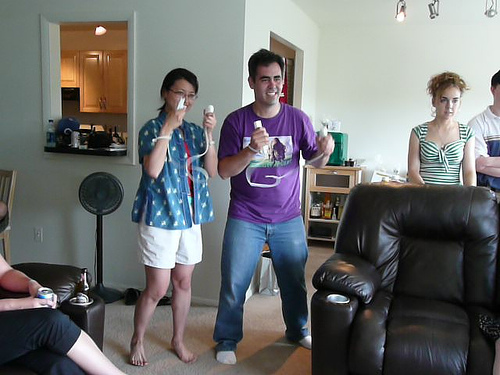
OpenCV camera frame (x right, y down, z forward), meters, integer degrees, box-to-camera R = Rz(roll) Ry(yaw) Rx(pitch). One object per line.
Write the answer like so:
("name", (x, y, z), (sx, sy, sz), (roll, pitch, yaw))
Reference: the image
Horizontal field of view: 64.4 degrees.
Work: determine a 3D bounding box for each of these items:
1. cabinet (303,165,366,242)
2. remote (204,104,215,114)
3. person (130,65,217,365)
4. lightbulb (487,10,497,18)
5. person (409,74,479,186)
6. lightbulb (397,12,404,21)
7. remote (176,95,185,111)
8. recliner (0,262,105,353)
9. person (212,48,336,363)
("cabinet", (1.126, 0.195, 5.453), (0.762, 1.283, 0.504), (6, 23, 20))
("remote", (-0.258, -0.490, 2.501), (0.047, 0.054, 0.102), (2, 10, 1))
("person", (-0.528, 0.165, 2.863), (0.560, 1.930, 0.806), (1, 9, -6))
("lightbulb", (2.384, -1.726, 3.927), (0.146, 0.051, 0.061), (-5, 12, -35))
("person", (1.506, -0.445, 3.068), (0.490, 0.833, 0.267), (4, 9, 16))
("lightbulb", (1.552, -1.764, 4.088), (0.048, 0.081, 0.149), (7, 11, 29))
("remote", (-0.423, -0.521, 2.457), (0.021, 0.085, 0.060), (11, 0, 21))
("recliner", (-1.113, 0.708, 2.344), (0.549, 0.431, 0.267), (9, 11, 36))
("person", (0.165, 0.149, 2.677), (0.794, 2.019, 0.696), (-2, 7, -14))
